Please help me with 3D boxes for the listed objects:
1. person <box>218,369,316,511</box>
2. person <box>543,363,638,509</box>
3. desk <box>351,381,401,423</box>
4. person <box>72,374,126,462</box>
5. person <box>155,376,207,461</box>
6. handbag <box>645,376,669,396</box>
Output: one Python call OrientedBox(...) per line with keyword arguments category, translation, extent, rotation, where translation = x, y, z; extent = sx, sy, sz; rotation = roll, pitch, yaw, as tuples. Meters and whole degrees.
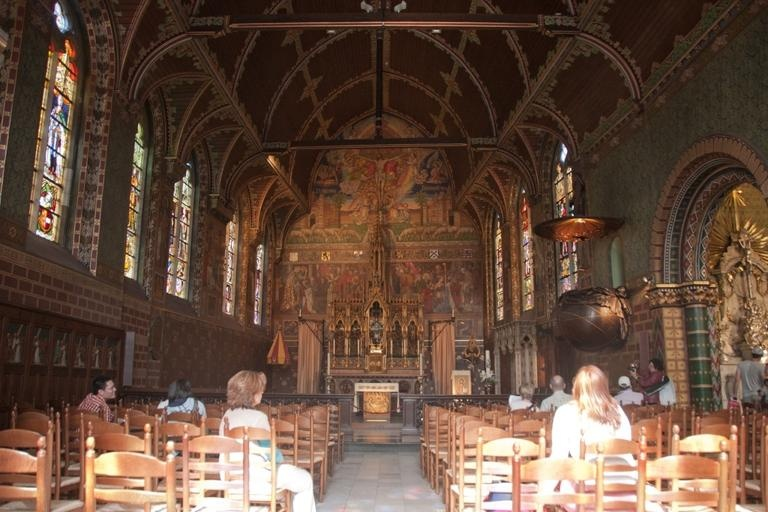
OrientedBox(category="person", translation=(-1.602, 2.446, 8.681), extent=(1.217, 1.901, 0.724), rotation=(2, -17, -14))
OrientedBox(category="person", translation=(2.560, 2.043, 8.181), extent=(1.088, 1.599, 1.093), rotation=(-14, 19, -28))
OrientedBox(category="desk", translation=(-0.320, 5.064, 22.381), extent=(1.517, 1.392, 1.081), rotation=(2, -9, -6))
OrientedBox(category="person", translation=(-4.941, 2.972, 11.401), extent=(0.858, 1.714, 0.689), rotation=(-5, 13, -15))
OrientedBox(category="person", translation=(-3.449, 2.691, 10.876), extent=(0.752, 1.283, 2.586), rotation=(4, -19, -19))
OrientedBox(category="handbag", translation=(5.832, 2.770, 13.799), extent=(0.558, 0.306, 0.137), rotation=(-35, -14, 9))
